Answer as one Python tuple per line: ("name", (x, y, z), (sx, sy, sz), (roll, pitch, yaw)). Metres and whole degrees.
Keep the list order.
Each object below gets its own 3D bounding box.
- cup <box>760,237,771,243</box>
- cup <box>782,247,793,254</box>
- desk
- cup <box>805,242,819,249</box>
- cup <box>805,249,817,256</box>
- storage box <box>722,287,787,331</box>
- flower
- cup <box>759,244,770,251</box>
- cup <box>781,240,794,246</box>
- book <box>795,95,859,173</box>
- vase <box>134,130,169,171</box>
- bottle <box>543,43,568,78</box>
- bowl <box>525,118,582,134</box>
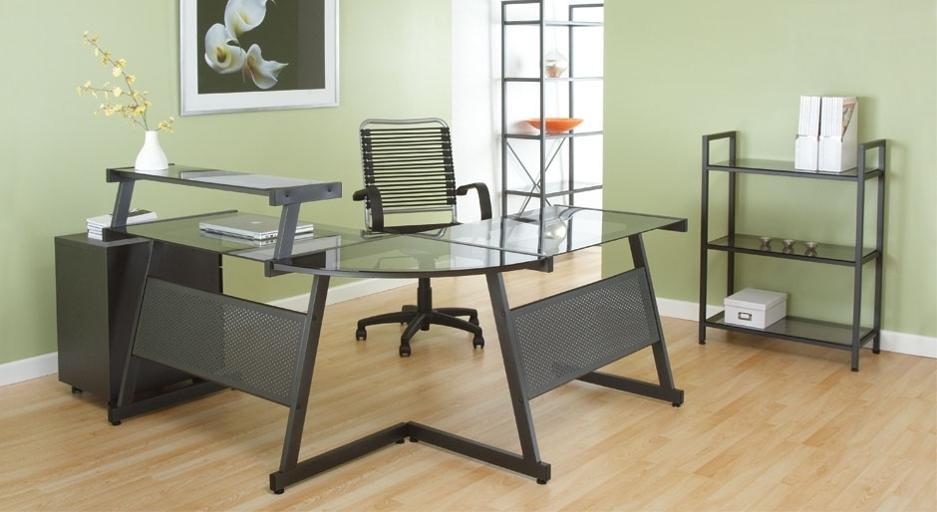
("cup", (2.193, -0.118, 4.933), (0.080, 0.050, 0.048), (1, 11, 7))
("cup", (2.299, -0.039, 4.803), (0.070, 0.036, 0.061), (-1, 7, -12))
("desk", (-0.685, 0.355, 3.985), (2.259, 0.771, 2.400), (6, 9, 43))
("cup", (2.461, -0.078, 4.796), (0.069, 0.037, 0.070), (-1, 7, 0))
("cup", (2.429, -0.024, 4.743), (0.067, 0.027, 0.061), (-7, 9, -31))
("storage box", (2.156, 0.396, 4.998), (0.413, 0.155, 0.307), (-7, 10, -43))
("flower", (-2.414, -1.204, 4.686), (0.548, 0.690, 0.239), (-6, 19, -15))
("cup", (2.164, -0.057, 4.871), (0.057, 0.039, 0.052), (-1, 2, 0))
("cup", (2.326, -0.095, 4.861), (0.063, 0.036, 0.061), (-1, 7, 0))
("book", (2.533, -0.850, 4.689), (0.431, 0.512, 0.314), (0, 18, 4))
("vase", (-2.039, -0.662, 4.249), (0.188, 0.247, 0.307), (-14, 20, -35))
("bottle", (0.866, -1.912, 6.662), (0.237, 0.268, 0.121), (-4, 19, -9))
("bowl", (0.858, -1.329, 6.870), (0.353, 0.068, 0.320), (-4, 7, -32))
